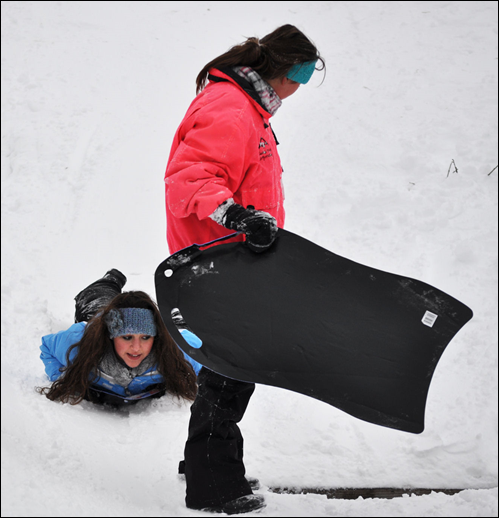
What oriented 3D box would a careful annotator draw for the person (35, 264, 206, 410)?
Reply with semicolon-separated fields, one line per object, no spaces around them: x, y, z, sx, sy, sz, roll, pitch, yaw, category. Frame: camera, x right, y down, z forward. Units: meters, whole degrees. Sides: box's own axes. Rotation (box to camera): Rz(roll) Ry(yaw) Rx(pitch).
-0.722;0.338;3.835;0.597;0.363;0.713;1;16;-26;person

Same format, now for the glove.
-0.021;-0.112;2.856;0.242;0.092;0.137;25;71;0;glove

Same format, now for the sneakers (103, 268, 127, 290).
-0.732;0.112;4.221;0.124;0.086;0.138;28;2;-19;sneakers
